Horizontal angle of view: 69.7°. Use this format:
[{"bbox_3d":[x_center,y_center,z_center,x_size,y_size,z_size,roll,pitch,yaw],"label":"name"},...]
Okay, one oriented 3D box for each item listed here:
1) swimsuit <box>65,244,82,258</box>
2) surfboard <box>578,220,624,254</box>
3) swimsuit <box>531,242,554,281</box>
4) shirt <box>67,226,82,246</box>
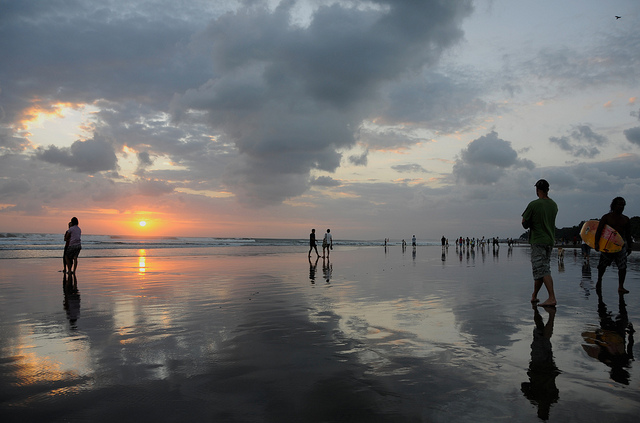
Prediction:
[{"bbox_3d":[-9.616,1.532,17.930,0.437,0.675,0.549,6,3,25],"label":"swimsuit"},{"bbox_3d":[8.194,0.761,13.626,0.717,0.186,1.718,15,-31,41],"label":"surfboard"},{"bbox_3d":[5.122,1.164,10.640,0.455,0.974,0.440,5,15,25],"label":"swimsuit"},{"bbox_3d":[-9.808,0.964,18.251,0.421,0.675,0.866,-8,14,-26],"label":"shirt"}]
